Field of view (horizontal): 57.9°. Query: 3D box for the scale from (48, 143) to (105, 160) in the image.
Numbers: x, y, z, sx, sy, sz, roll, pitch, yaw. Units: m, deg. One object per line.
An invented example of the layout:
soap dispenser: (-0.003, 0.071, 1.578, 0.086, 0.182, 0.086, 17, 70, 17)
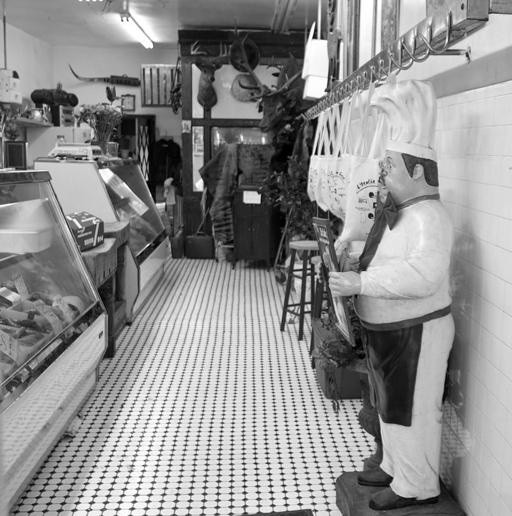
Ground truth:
scale: (-1.760, -1.044, 4.522, 0.503, 0.182, 0.473, -4, 10, -26)

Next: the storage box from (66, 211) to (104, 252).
storage box: (-1.187, -0.201, 3.274, 0.197, 0.164, 0.247, -6, 36, -1)

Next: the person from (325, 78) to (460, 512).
person: (0.517, 0.166, 1.699, 0.389, 1.616, 0.370, 4, 9, 27)
